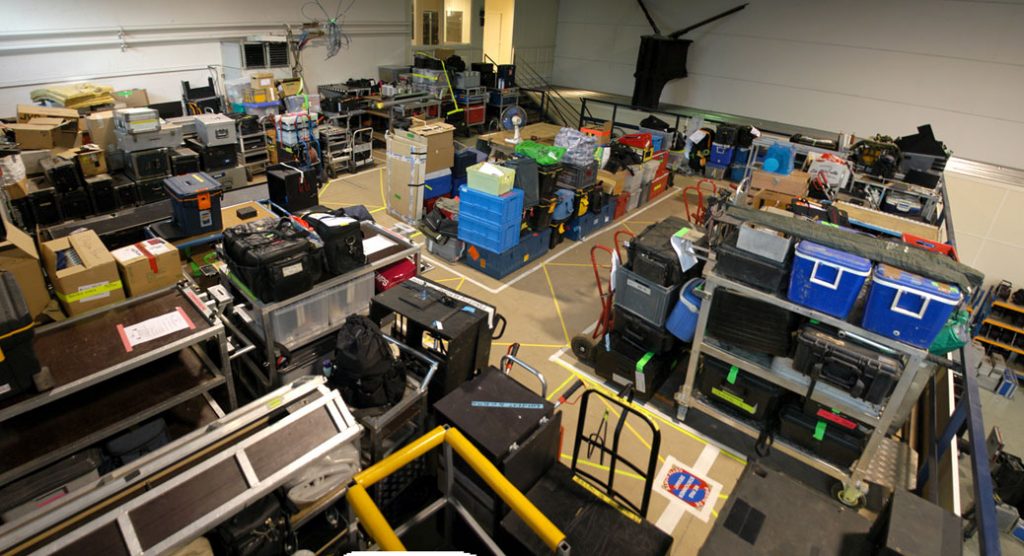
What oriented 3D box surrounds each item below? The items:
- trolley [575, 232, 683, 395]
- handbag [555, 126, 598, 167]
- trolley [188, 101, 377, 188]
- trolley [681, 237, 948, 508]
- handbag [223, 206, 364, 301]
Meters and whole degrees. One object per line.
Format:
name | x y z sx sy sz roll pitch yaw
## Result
trolley | 1.932 0.679 9.775 1.621 2.163 1.747 26 44 32
handbag | 1.242 -2.545 12.100 0.891 0.571 0.657 34 41 19
trolley | -4.619 -3.070 14.020 1.734 1.059 2.445 26 34 34
trolley | 4.323 1.356 8.546 2.894 2.410 2.245 27 45 24
handbag | -2.977 -0.391 8.668 1.663 0.581 1.276 -22 41 -37
